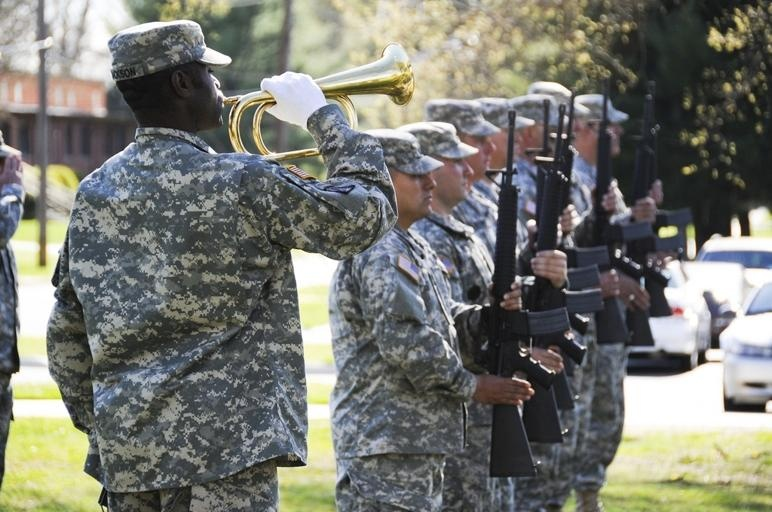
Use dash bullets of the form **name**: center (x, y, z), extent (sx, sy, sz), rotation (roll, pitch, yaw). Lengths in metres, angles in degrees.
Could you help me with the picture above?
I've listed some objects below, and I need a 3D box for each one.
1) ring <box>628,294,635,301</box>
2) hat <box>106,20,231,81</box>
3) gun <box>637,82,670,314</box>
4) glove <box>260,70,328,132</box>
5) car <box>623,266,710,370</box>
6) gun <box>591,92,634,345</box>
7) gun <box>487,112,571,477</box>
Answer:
- **ring**: center (2.856, 0.448, 19.607), extent (0.072, 0.068, 0.018), rotation (5, 6, 22)
- **hat**: center (-2.200, -2.008, 16.561), extent (0.926, 0.439, 0.647), rotation (-3, 0, -10)
- **gun**: center (3.085, -0.594, 19.816), extent (0.509, 2.333, 0.487), rotation (1, 0, 7)
- **glove**: center (-0.926, -1.556, 16.823), extent (0.656, 0.484, 0.186), rotation (37, -9, 7)
- **car**: center (3.295, 0.659, 19.727), extent (0.945, 0.759, 2.146), rotation (-1, 8, 14)
- **gun**: center (2.479, -0.325, 19.707), extent (0.852, 2.489, 0.702), rotation (-1, -6, 15)
- **gun**: center (1.440, 0.366, 17.661), extent (0.769, 3.758, 0.449), rotation (1, -3, -6)
